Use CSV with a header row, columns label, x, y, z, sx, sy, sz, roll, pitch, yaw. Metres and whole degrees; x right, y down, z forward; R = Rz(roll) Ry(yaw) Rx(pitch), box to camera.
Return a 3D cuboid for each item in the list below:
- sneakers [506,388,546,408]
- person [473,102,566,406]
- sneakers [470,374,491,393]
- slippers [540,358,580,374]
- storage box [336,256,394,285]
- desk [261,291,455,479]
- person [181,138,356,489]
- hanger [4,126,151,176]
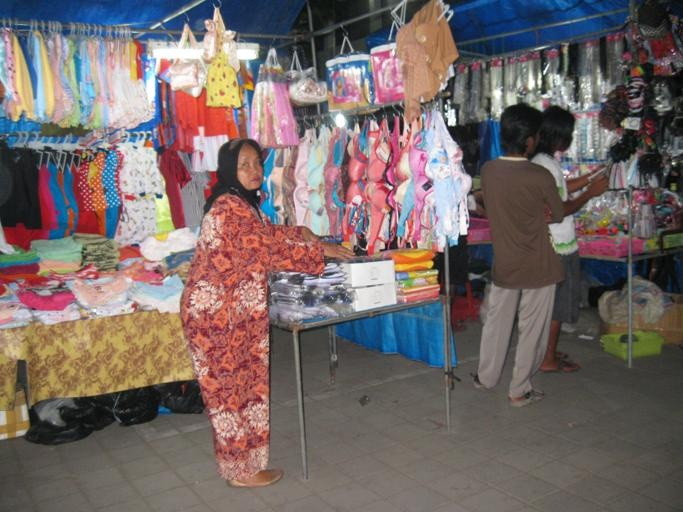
label,x,y,z,sx,sy,sz,roll,pitch,yaw
sneakers,1.460,1.108,4.601,0.311,0.128,0.113,-9,17,-24
person,1.347,0.005,4.451,0.648,2.277,0.421,1,12,20
sneakers,1.130,1.039,4.716,0.167,0.062,0.122,3,6,-10
slippers,1.932,0.944,5.166,0.327,0.131,0.167,-4,16,-1
storage box,0.176,0.103,3.764,0.278,0.133,0.191,-4,3,-33
desk,0.107,0.685,4.321,1.362,1.011,1.185,-7,9,-26
person,-0.557,0.534,3.616,0.835,1.826,0.324,-6,12,-13
hanger,-2.292,-0.993,5.262,1.332,0.458,0.381,-8,19,-25
